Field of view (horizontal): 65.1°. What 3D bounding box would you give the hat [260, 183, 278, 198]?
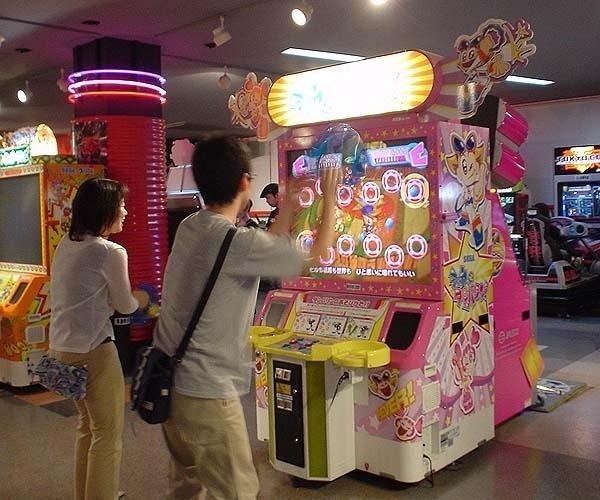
[{"bbox_3d":[-0.460,-0.887,7.143,0.299,0.180,0.220,1,16,19],"label":"hat"}]
